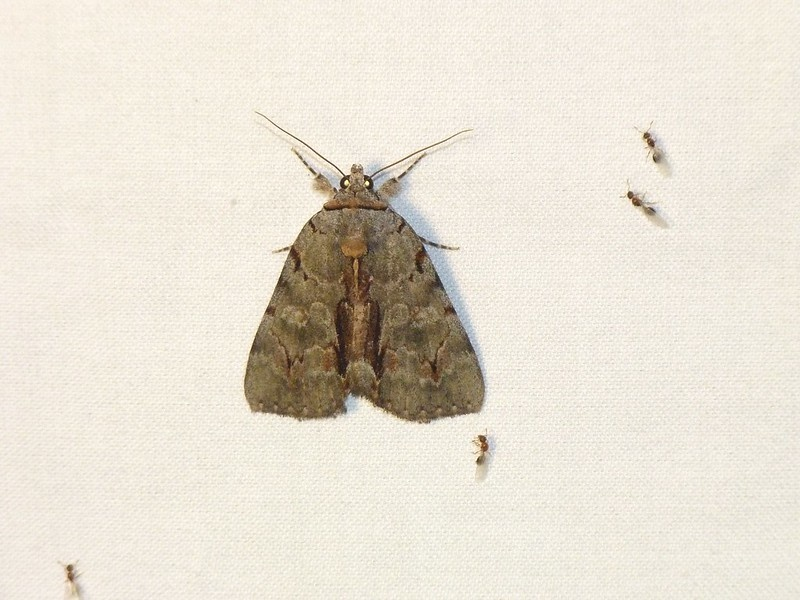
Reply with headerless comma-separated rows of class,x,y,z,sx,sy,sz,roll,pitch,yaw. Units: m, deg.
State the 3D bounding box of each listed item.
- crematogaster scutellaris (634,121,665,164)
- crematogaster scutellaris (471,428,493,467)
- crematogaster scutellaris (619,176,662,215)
crematogaster scutellaris,2.356,-1.449,13.405,0.125,0.258,0.316,-25,-50,30
crematogaster scutellaris,0.748,1.409,13.362,0.196,0.293,0.093,5,-3,-26
crematogaster scutellaris,2.253,-0.924,13.343,0.332,0.102,0.239,42,-95,-11
